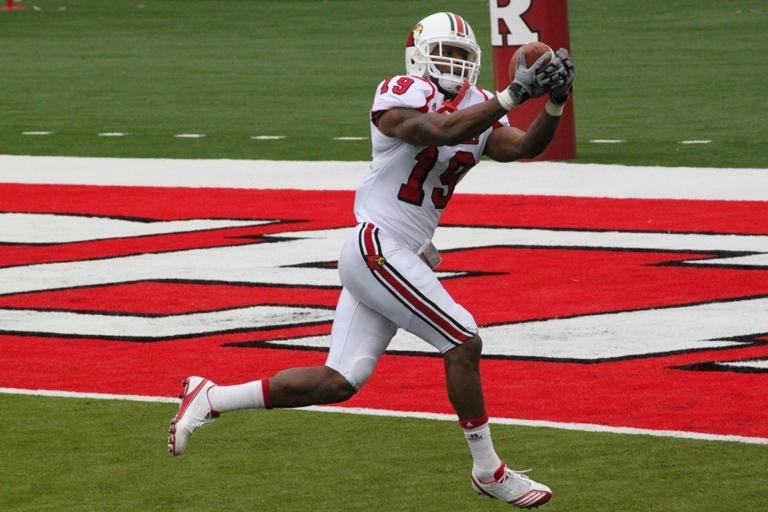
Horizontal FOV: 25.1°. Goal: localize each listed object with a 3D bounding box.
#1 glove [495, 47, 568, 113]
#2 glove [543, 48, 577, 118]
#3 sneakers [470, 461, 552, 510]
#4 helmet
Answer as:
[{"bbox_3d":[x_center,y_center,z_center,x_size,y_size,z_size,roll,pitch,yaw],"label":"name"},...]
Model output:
[{"bbox_3d":[1.005,-1.158,11.654,0.461,0.206,0.507,-6,-9,-41],"label":"glove"},{"bbox_3d":[1.214,-1.158,11.712,0.171,0.470,0.191,15,39,19],"label":"glove"},{"bbox_3d":[0.895,1.586,11.805,0.693,0.259,0.227,8,35,3],"label":"sneakers"},{"bbox_3d":[0.414,-1.403,11.999,0.565,0.465,0.652,3,4,-28],"label":"helmet"}]
